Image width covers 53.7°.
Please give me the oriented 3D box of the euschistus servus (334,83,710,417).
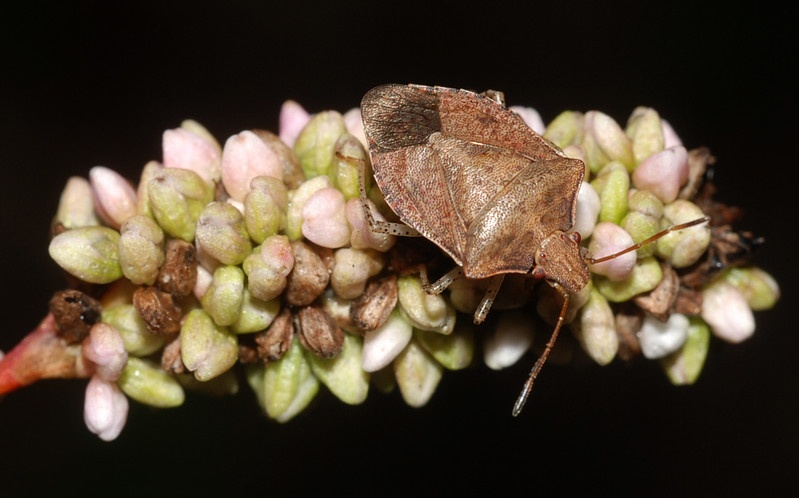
[{"bbox_3d":[0.294,-0.254,3.209,1.004,0.559,0.596,9,36,-3],"label":"euschistus servus"}]
